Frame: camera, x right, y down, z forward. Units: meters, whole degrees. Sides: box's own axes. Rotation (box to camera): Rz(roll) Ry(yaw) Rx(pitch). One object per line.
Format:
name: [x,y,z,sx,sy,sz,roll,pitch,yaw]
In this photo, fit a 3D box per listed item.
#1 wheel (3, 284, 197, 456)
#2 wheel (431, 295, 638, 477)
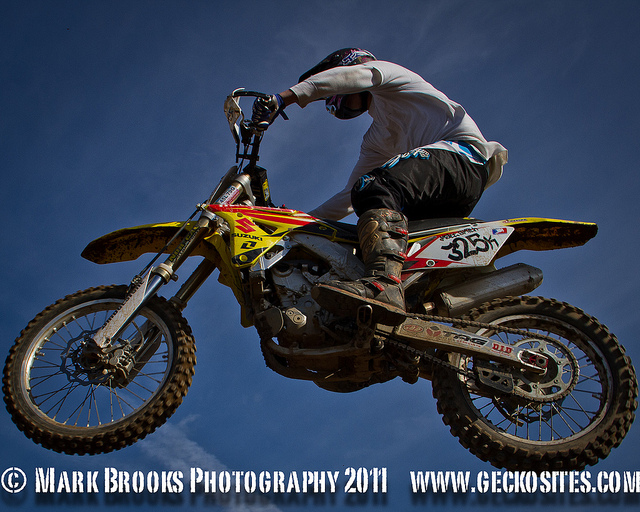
wheel: [-1.898,0.989,6.615,1.545,0.305,1.548,-3,57,4]
wheel: [1.780,1.108,6.408,2.001,0.489,2.096,-3,63,6]
